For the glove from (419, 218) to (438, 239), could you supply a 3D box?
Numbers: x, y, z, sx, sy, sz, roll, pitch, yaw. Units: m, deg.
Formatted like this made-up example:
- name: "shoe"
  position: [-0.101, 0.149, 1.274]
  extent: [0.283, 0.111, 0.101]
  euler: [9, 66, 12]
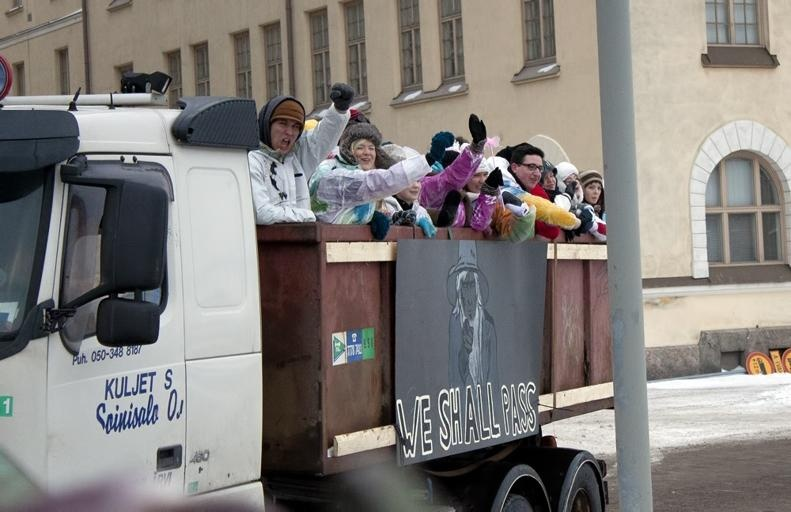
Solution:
- name: "glove"
  position: [0.289, -0.242, 9.225]
  extent: [0.124, 0.183, 0.050]
  euler: [-24, 1, -29]

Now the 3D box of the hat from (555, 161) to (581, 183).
- name: "hat"
  position: [2.010, -1.006, 12.736]
  extent: [0.186, 0.256, 0.270]
  euler: [-14, -11, -16]

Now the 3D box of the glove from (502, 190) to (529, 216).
- name: "glove"
  position: [1.094, -0.487, 9.927]
  extent: [0.114, 0.277, 0.154]
  euler: [-46, -2, 29]

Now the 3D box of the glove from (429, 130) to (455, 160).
- name: "glove"
  position: [0.407, -1.001, 9.669]
  extent: [0.164, 0.287, 0.112]
  euler: [36, -1, 18]

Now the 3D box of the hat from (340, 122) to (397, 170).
- name: "hat"
  position: [-0.256, -1.003, 9.868]
  extent: [0.435, 0.243, 0.371]
  euler: [4, 3, 31]

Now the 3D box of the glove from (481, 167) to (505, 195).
- name: "glove"
  position: [0.891, -0.656, 9.874]
  extent: [0.157, 0.261, 0.119]
  euler: [31, -25, 1]

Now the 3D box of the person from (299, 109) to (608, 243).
- name: "person"
  position: [0.430, -0.612, 9.929]
  extent: [2.099, 1.060, 1.334]
  euler: [3, 7, -14]

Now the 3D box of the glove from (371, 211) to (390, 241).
- name: "glove"
  position: [-0.133, -0.253, 8.970]
  extent: [0.129, 0.239, 0.053]
  euler: [3, -3, -19]

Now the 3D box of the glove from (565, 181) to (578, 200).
- name: "glove"
  position: [2.011, -0.753, 12.320]
  extent: [0.061, 0.201, 0.142]
  euler: [-1, -35, 21]

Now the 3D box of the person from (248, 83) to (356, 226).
- name: "person"
  position: [-0.884, -0.810, 9.351]
  extent: [0.916, 1.445, 0.743]
  euler: [2, -6, -33]

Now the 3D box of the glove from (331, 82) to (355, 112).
- name: "glove"
  position: [-0.451, -1.425, 9.482]
  extent: [0.176, 0.245, 0.241]
  euler: [7, 31, 5]

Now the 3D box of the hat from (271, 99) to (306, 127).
- name: "hat"
  position: [-0.890, -1.224, 9.222]
  extent: [0.172, 0.210, 0.245]
  euler: [5, 10, -9]

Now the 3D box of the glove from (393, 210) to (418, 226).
- name: "glove"
  position: [0.087, -0.315, 9.394]
  extent: [0.157, 0.090, 0.130]
  euler: [8, -3, -13]

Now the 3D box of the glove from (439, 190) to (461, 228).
- name: "glove"
  position: [0.542, -0.454, 10.171]
  extent: [0.121, 0.228, 0.469]
  euler: [0, 43, 23]
